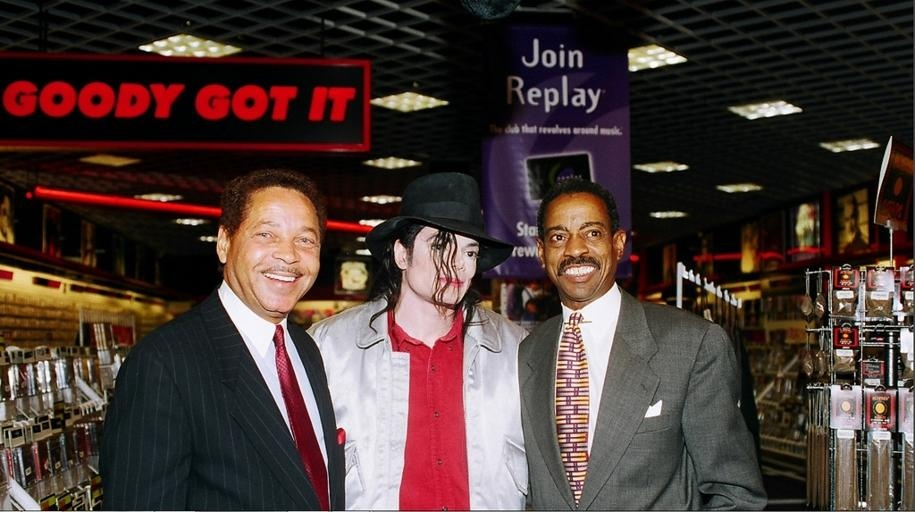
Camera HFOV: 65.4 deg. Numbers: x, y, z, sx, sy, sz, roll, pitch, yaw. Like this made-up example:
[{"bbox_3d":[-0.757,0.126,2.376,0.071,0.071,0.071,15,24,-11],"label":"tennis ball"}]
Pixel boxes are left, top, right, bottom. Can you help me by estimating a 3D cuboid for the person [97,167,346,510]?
[{"bbox_3d":[-1.453,0.535,4.613,1.451,2.218,0.409,1,-5,-10],"label":"person"}]
